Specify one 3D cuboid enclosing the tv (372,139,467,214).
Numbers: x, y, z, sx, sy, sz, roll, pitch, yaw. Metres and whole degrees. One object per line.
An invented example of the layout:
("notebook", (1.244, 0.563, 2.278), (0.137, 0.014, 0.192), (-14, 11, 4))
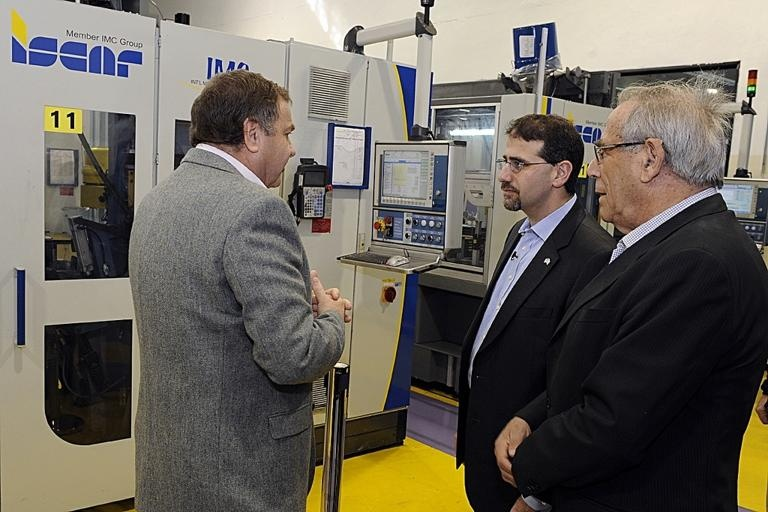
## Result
("tv", (0.191, -0.485, 3.555), (0.591, 0.417, 0.138), (10, 12, 38))
